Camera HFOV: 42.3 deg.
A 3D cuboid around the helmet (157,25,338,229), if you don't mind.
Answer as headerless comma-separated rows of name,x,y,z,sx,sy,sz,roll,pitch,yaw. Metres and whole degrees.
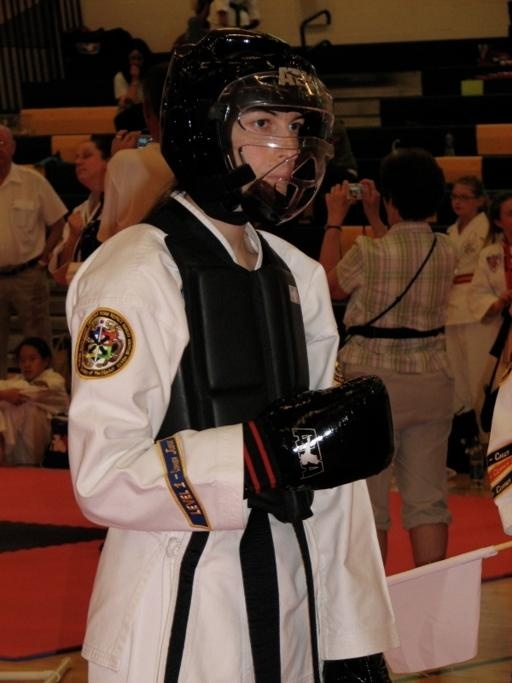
helmet,0.012,-0.316,1.016,0.311,0.265,0.254,15,18,32
